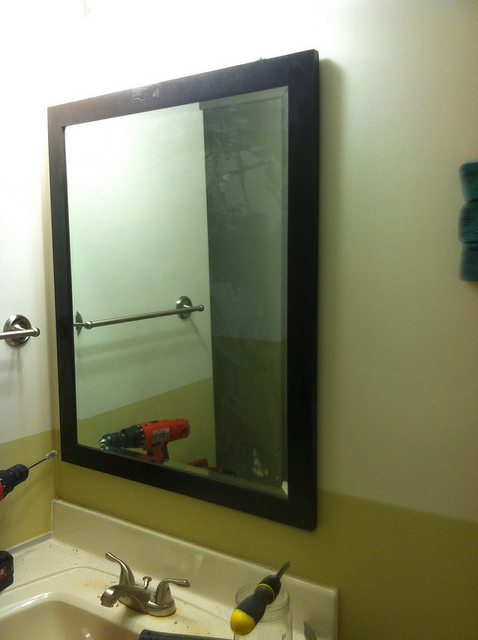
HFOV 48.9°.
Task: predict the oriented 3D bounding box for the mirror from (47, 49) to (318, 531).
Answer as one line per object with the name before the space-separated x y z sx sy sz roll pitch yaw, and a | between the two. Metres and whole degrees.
mirror | -0.127 -0.041 1.089 0.612 0.880 0.035 2 7 25
